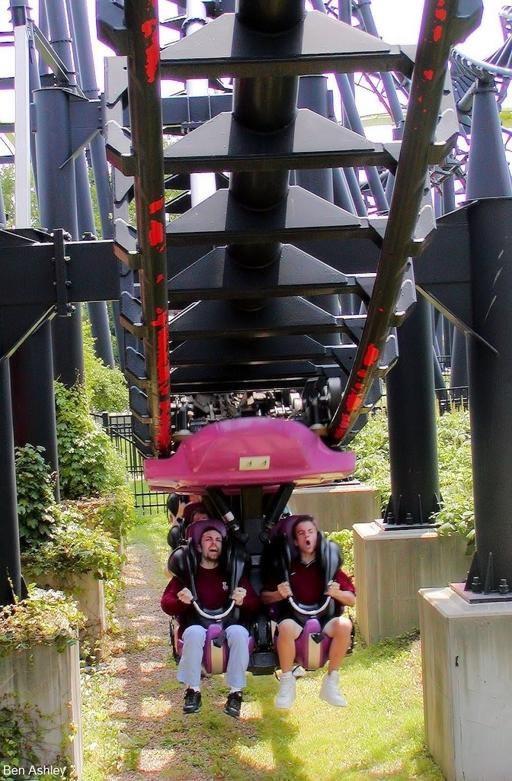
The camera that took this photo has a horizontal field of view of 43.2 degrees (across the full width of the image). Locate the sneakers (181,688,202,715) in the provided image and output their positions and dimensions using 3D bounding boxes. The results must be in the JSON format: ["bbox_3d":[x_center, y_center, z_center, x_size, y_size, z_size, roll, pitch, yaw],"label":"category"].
[{"bbox_3d":[-0.379,1.835,3.813,0.076,0.092,0.195,-1,-10,0],"label":"sneakers"}]

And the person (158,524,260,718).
[{"bbox_3d":[-0.256,1.418,3.986,0.597,1.164,0.484,-7,2,-10],"label":"person"}]

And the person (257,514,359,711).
[{"bbox_3d":[0.347,1.383,4.046,0.583,1.088,0.491,-7,1,-3],"label":"person"}]

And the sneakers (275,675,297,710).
[{"bbox_3d":[0.178,1.848,3.911,0.114,0.210,0.217,-7,1,8],"label":"sneakers"}]

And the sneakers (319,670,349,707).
[{"bbox_3d":[0.460,1.834,3.940,0.136,0.199,0.244,-7,1,0],"label":"sneakers"}]
